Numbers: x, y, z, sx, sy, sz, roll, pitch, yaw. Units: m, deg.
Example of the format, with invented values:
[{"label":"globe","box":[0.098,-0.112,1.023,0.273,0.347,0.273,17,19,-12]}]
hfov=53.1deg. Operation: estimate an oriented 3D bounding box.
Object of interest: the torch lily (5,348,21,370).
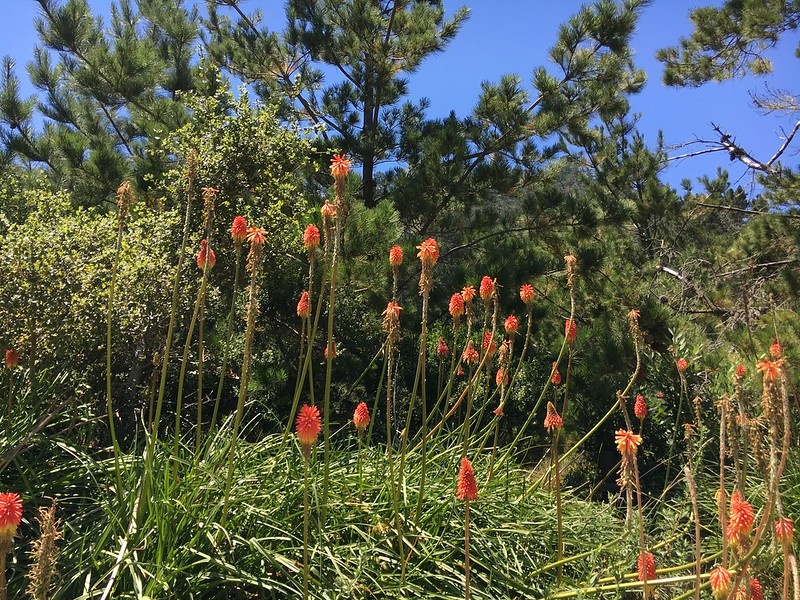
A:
[{"label":"torch lily","box":[-3.669,0.572,7.579,0.116,0.130,0.210,-25,-6,-26]}]
